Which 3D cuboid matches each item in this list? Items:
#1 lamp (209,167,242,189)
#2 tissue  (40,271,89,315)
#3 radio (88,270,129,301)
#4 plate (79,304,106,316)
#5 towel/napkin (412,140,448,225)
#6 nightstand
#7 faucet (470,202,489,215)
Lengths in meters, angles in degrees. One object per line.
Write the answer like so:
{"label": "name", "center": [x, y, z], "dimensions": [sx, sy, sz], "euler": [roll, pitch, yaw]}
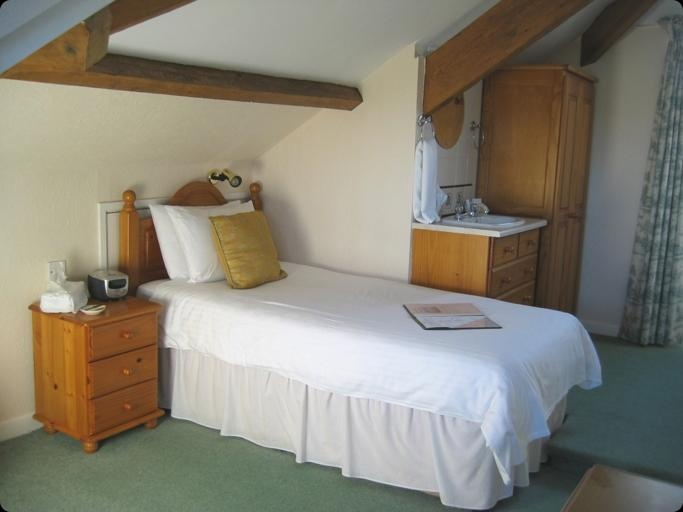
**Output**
{"label": "lamp", "center": [-0.866, -0.576, 3.943], "dimensions": [0.190, 0.132, 0.071], "euler": [8, -12, -7]}
{"label": "tissue ", "center": [-1.590, 0.192, 3.062], "dimensions": [0.234, 0.118, 0.318], "euler": [7, 23, -9]}
{"label": "radio", "center": [-1.382, 0.161, 3.189], "dimensions": [0.203, 0.146, 0.156], "euler": [9, 15, 31]}
{"label": "plate", "center": [-1.374, 0.301, 2.943], "dimensions": [0.131, 0.028, 0.113], "euler": [-4, 12, -18]}
{"label": "towel/napkin", "center": [0.633, -0.533, 3.837], "dimensions": [0.210, 0.555, 0.157], "euler": [-6, 35, 1]}
{"label": "nightstand", "center": [-1.409, 0.546, 3.200], "dimensions": [0.568, 0.895, 0.650], "euler": [6, 9, 32]}
{"label": "faucet", "center": [1.091, -0.367, 4.221], "dimensions": [0.098, 0.072, 0.141], "euler": [4, 9, 26]}
